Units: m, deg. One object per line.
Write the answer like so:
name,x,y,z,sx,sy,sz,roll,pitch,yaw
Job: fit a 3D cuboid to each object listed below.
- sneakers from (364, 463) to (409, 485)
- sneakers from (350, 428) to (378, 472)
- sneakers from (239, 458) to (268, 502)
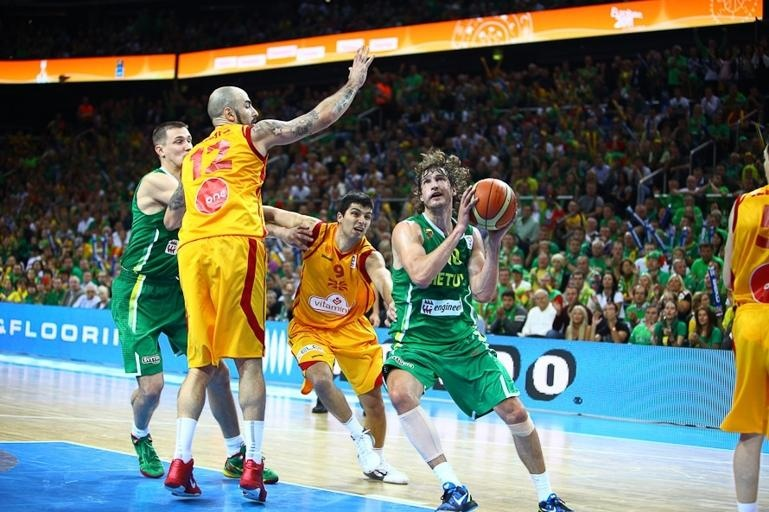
sneakers,0.042,2.571,9.343,0.536,0.246,0.214,5,-5,16
sneakers,-0.280,2.279,9.446,0.210,0.639,0.251,-41,-50,23
sneakers,-1.413,2.404,8.368,0.285,0.471,0.266,1,0,-11
